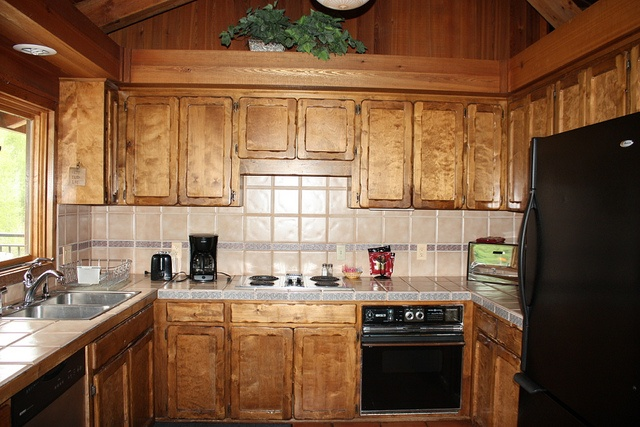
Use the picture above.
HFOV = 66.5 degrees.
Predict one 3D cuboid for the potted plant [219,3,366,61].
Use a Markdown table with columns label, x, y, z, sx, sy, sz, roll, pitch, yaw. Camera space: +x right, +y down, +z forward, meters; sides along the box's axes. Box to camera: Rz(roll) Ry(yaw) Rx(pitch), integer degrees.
| label | x | y | z | sx | sy | sz | roll | pitch | yaw |
| --- | --- | --- | --- | --- | --- | --- | --- | --- | --- |
| potted plant | -0.224 | -1.462 | 3.951 | 1.170 | 0.461 | 0.350 | 0 | 0 | 4 |

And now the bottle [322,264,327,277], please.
| label | x | y | z | sx | sy | sz | roll | pitch | yaw |
| --- | --- | --- | --- | --- | --- | --- | --- | --- | --- |
| bottle | 0.039 | 0.494 | 4.307 | 0.030 | 0.103 | 0.124 | 0 | 0 | -7 |

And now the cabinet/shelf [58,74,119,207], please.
| label | x | y | z | sx | sy | sz | roll | pitch | yaw |
| --- | --- | --- | --- | --- | --- | --- | --- | --- | --- |
| cabinet/shelf | -1.890 | -0.575 | 4.056 | 0.342 | 0.955 | 0.512 | 0 | 2 | -10 |

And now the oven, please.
| label | x | y | z | sx | sy | sz | roll | pitch | yaw |
| --- | --- | --- | --- | --- | --- | --- | --- | --- | --- |
| oven | 0.816 | 1.368 | 4.023 | 0.865 | 0.611 | 0.510 | -10 | -34 | 26 |

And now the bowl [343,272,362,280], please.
| label | x | y | z | sx | sy | sz | roll | pitch | yaw |
| --- | --- | --- | --- | --- | --- | --- | --- | --- | --- |
| bowl | 0.281 | 0.537 | 4.266 | 0.143 | 0.056 | 0.096 | 0 | 0 | 5 |

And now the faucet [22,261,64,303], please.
| label | x | y | z | sx | sy | sz | roll | pitch | yaw |
| --- | --- | --- | --- | --- | --- | --- | --- | --- | --- |
| faucet | -1.943 | 0.468 | 3.392 | 0.087 | 0.256 | 0.321 | -8 | -4 | 13 |

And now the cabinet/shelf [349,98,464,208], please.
| label | x | y | z | sx | sy | sz | roll | pitch | yaw |
| --- | --- | --- | --- | --- | --- | --- | --- | --- | --- |
| cabinet/shelf | 0.679 | -0.525 | 4.058 | 0.934 | 0.849 | 0.307 | 0 | 1 | 1 |

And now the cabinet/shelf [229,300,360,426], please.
| label | x | y | z | sx | sy | sz | roll | pitch | yaw |
| --- | --- | --- | --- | --- | --- | --- | --- | --- | --- |
| cabinet/shelf | -0.225 | 1.139 | 3.838 | 0.947 | 0.860 | 0.434 | 0 | -5 | -1 |

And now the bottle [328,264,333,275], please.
| label | x | y | z | sx | sy | sz | roll | pitch | yaw |
| --- | --- | --- | --- | --- | --- | --- | --- | --- | --- |
| bottle | 0.089 | 0.500 | 4.323 | 0.036 | 0.104 | 0.122 | 0 | 0 | 5 |

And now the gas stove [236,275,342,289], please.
| label | x | y | z | sx | sy | sz | roll | pitch | yaw |
| --- | --- | --- | --- | --- | --- | --- | --- | --- | --- |
| gas stove | -0.225 | 0.565 | 4.075 | 0.928 | 0.075 | 0.408 | 0 | 0 | -1 |

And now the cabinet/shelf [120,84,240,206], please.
| label | x | y | z | sx | sy | sz | roll | pitch | yaw |
| --- | --- | --- | --- | --- | --- | --- | --- | --- | --- |
| cabinet/shelf | -1.182 | -0.596 | 4.001 | 0.983 | 0.929 | 0.329 | 0 | -2 | -3 |
